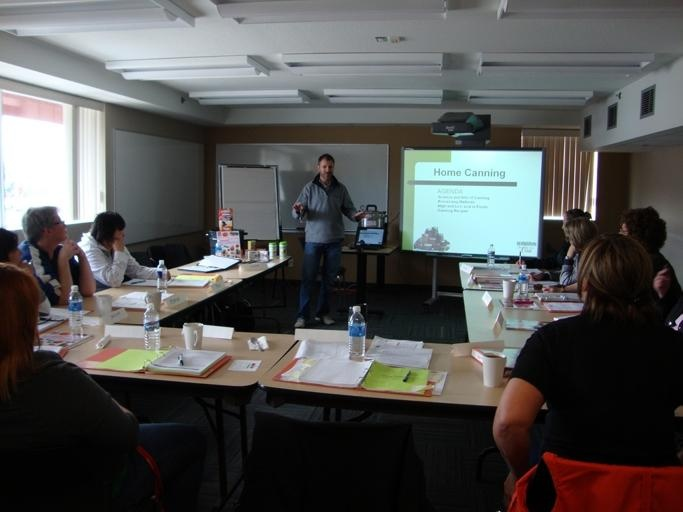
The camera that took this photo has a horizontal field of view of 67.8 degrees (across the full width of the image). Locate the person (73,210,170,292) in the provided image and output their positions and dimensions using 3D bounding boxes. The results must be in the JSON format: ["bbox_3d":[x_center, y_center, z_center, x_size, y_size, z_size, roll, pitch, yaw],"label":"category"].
[{"bbox_3d":[-1.816,-0.053,4.141,0.786,0.622,0.509,-2,11,-30],"label":"person"}]

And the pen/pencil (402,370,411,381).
[{"bbox_3d":[0.292,0.534,2.259,0.014,0.012,0.101,3,14,17],"label":"pen/pencil"}]

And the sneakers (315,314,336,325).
[{"bbox_3d":[-0.190,0.713,5.735,0.235,0.100,0.089,2,5,34],"label":"sneakers"}]

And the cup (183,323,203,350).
[{"bbox_3d":[-0.744,0.401,2.523,0.133,0.116,0.089,4,6,36],"label":"cup"}]

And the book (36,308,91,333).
[{"bbox_3d":[-1.564,0.363,2.834,0.098,0.014,0.263,6,7,24],"label":"book"}]

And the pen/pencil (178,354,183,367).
[{"bbox_3d":[-0.742,0.479,2.335,0.019,0.022,0.074,-7,13,-15],"label":"pen/pencil"}]

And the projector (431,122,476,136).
[{"bbox_3d":[1.280,-1.468,5.839,0.446,0.125,0.127,1,8,11],"label":"projector"}]

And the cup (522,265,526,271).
[{"bbox_3d":[1.526,0.094,4.247,0.049,0.056,0.050,-4,3,0],"label":"cup"}]

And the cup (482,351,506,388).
[{"bbox_3d":[0.646,0.497,2.233,0.111,0.131,0.138,-1,1,10],"label":"cup"}]
